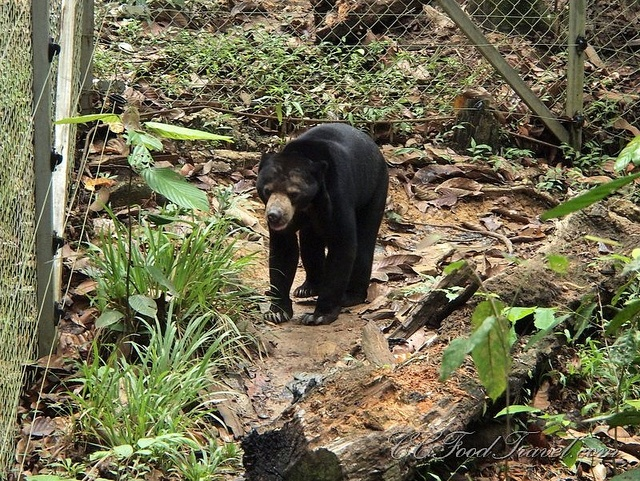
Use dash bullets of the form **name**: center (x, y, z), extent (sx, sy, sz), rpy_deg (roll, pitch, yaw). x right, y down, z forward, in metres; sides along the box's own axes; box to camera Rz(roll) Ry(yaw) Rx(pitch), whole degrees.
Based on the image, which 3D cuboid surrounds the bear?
- **bear**: center (0.013, -0.157, 4.887), extent (0.960, 1.459, 1.284), rpy_deg (20, 23, 17)
